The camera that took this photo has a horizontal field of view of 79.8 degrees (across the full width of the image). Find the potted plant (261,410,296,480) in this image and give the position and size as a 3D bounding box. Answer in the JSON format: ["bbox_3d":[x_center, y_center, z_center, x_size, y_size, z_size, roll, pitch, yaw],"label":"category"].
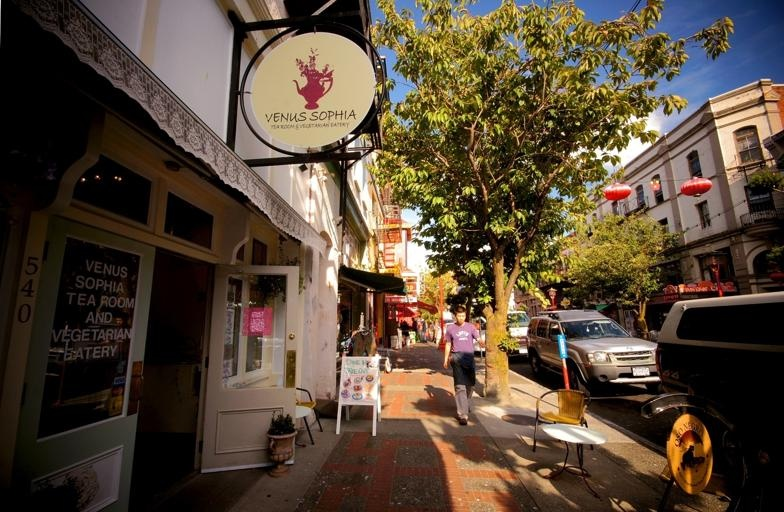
[{"bbox_3d":[-1.744,2.946,7.377,0.422,0.926,0.326,3,-13,-16],"label":"potted plant"}]

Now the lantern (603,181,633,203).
[{"bbox_3d":[5.527,-1.695,11.677,0.583,0.569,0.656,-7,-14,25],"label":"lantern"}]

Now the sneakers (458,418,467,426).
[{"bbox_3d":[1.377,3.239,9.194,0.179,0.125,0.187,-2,-13,6],"label":"sneakers"}]

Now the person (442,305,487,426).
[{"bbox_3d":[1.507,2.258,9.977,0.741,2.384,1.338,-3,-13,10],"label":"person"}]

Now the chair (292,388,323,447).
[{"bbox_3d":[-1.550,2.858,8.671,0.533,0.844,0.569,-17,-12,41],"label":"chair"}]

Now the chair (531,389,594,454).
[{"bbox_3d":[2.773,2.682,7.586,0.786,1.008,0.760,1,-10,29],"label":"chair"}]

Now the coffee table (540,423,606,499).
[{"bbox_3d":[2.796,3.124,7.217,0.970,0.791,0.952,-1,-4,-41],"label":"coffee table"}]
